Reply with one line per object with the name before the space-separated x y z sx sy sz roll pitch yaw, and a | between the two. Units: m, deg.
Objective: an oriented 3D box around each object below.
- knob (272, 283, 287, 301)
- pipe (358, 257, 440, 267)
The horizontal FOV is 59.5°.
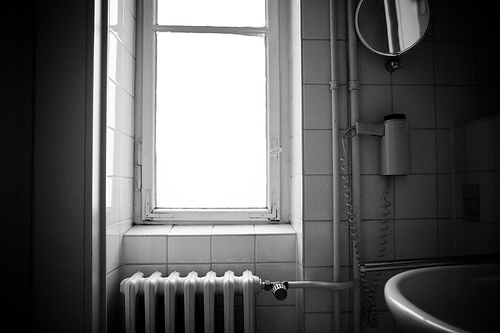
knob | 0.159 0.666 2.338 0.068 0.070 0.077 7 -6 4
pipe | 0.782 0.489 2.254 0.508 0.047 0.055 -5 -18 3
